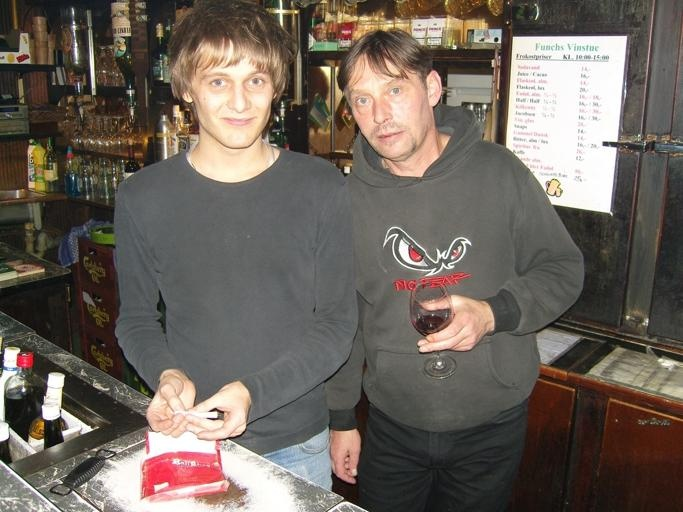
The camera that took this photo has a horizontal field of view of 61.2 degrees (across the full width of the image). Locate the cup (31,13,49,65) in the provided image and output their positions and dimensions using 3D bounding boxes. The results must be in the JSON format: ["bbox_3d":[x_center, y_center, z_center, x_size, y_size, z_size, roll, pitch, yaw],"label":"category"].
[{"bbox_3d":[-2.769,-1.990,5.329,0.140,0.449,0.282,-2,11,-27],"label":"cup"}]

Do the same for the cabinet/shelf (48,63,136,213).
[{"bbox_3d":[-2.350,-0.844,5.752,0.512,1.425,1.509,-1,-19,-12],"label":"cabinet/shelf"}]

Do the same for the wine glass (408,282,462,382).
[{"bbox_3d":[0.320,0.242,1.997,0.147,0.343,0.146,-13,23,0],"label":"wine glass"}]
